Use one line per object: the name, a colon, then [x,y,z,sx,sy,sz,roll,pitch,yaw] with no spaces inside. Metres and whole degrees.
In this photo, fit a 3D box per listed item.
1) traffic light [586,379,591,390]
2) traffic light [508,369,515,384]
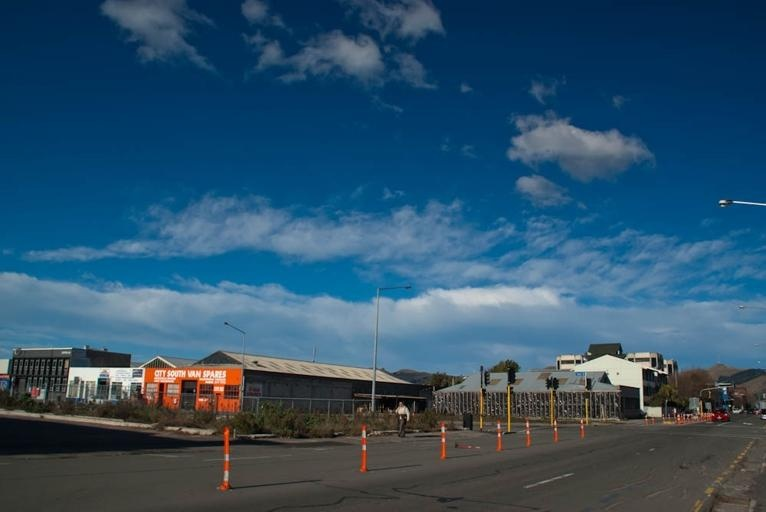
traffic light: [22.038,13.808,66.411,0.466,1.187,1.726,-4,-17,13]
traffic light: [8.870,8.308,42.702,0.277,0.990,0.807,-9,-18,28]
